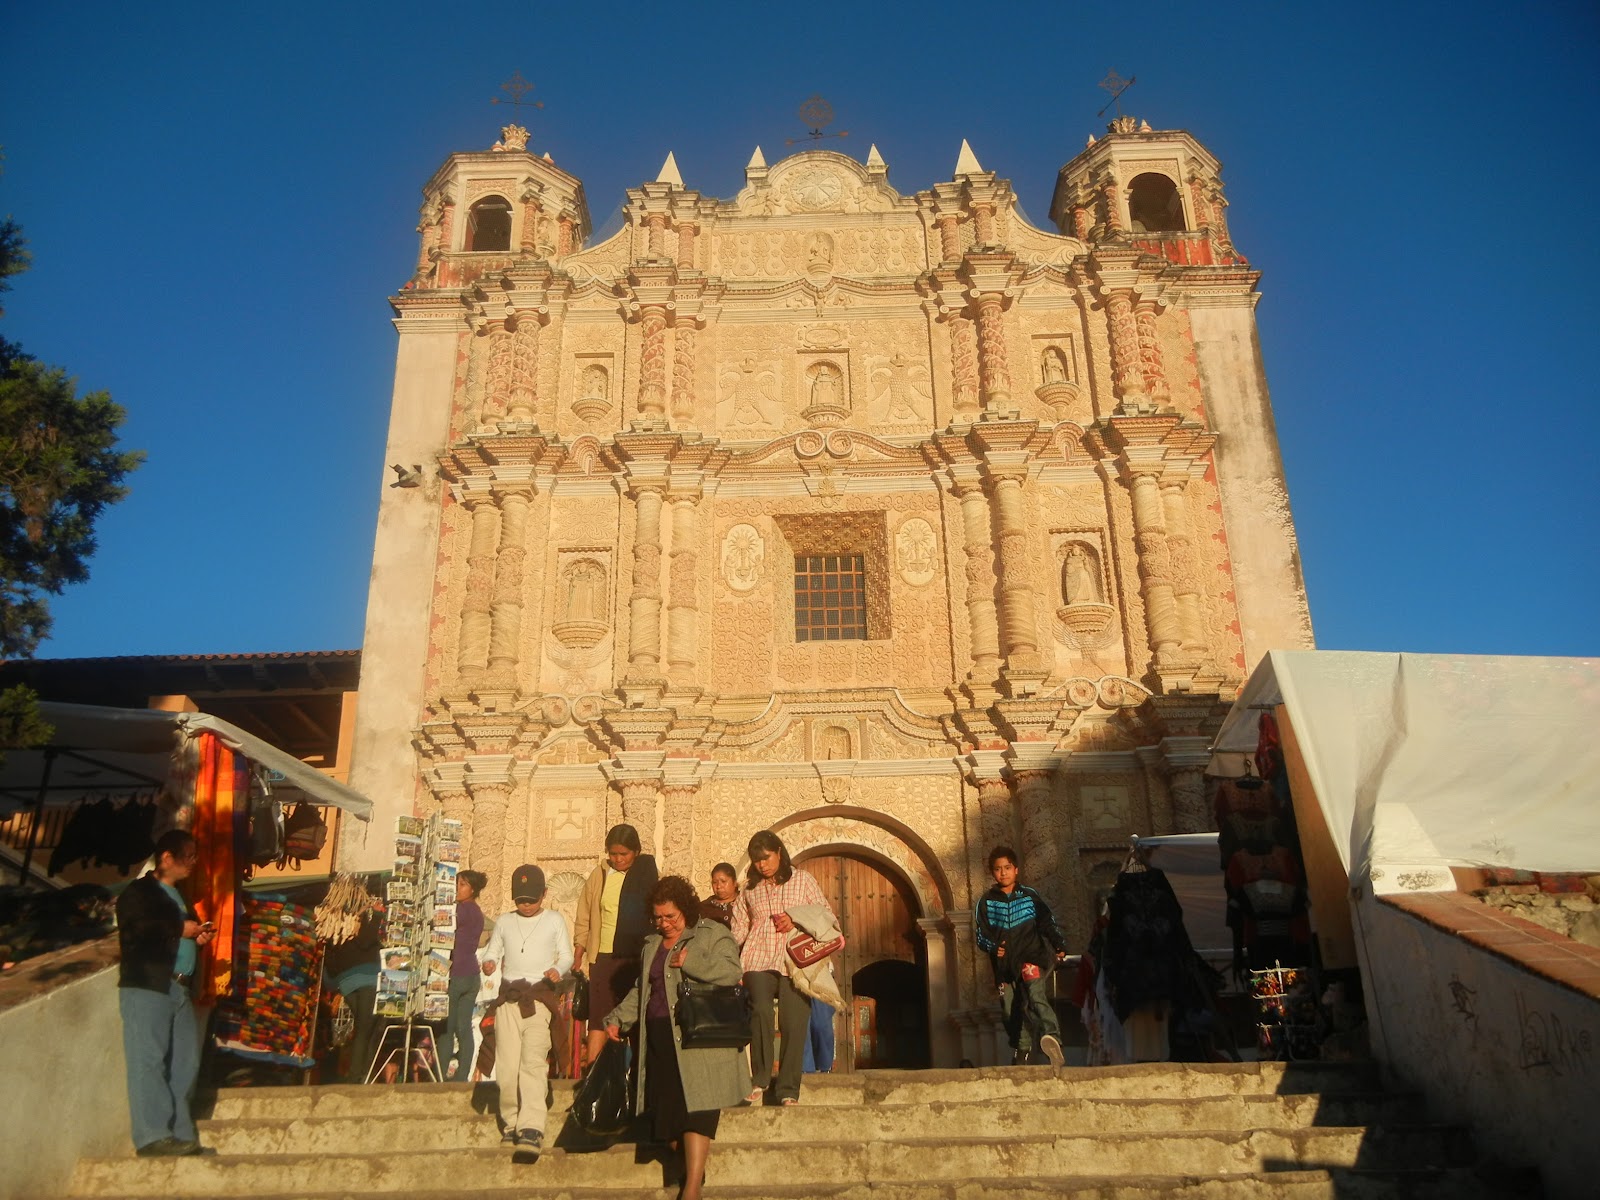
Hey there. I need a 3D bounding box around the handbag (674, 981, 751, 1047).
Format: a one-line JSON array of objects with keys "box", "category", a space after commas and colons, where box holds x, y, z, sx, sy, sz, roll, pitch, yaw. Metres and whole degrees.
[{"box": [-0.574, 2.619, 7.322, 0.490, 0.394, 0.165, 6, -43, -21], "category": "handbag"}]

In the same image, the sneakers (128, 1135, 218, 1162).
[{"box": [-4.273, 3.762, 7.988, 0.568, 0.190, 0.168, 3, -17, -6], "category": "sneakers"}]

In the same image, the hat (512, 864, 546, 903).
[{"box": [-2.183, 2.269, 9.292, 0.274, 0.185, 0.365, 0, -16, -2], "category": "hat"}]

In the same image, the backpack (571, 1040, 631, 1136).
[{"box": [-1.303, 3.252, 7.690, 0.369, 0.630, 0.591, 9, -41, -1], "category": "backpack"}]
